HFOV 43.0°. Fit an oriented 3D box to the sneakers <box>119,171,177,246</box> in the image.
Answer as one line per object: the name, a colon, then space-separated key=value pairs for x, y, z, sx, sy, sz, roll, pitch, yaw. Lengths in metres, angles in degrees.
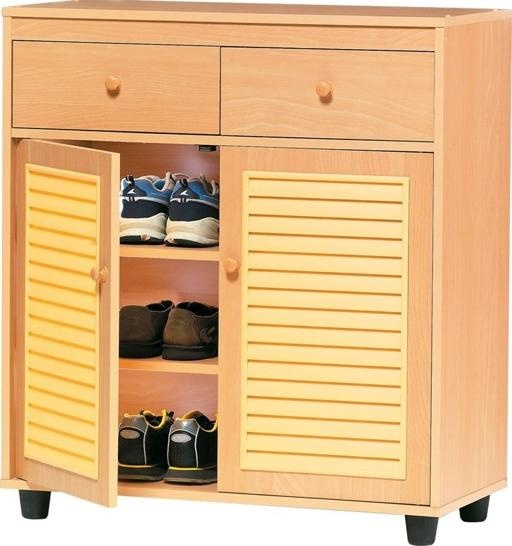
sneakers: x=-0.284 y=-0.195 z=1.854 sx=0.147 sy=0.175 sz=0.416 roll=2 pitch=8 yaw=11

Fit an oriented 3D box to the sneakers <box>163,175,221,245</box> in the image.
sneakers: x=-0.135 y=-0.171 z=1.788 sx=0.151 sy=0.168 sz=0.386 roll=3 pitch=8 yaw=12

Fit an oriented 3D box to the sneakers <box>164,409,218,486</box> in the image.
sneakers: x=-0.148 y=0.452 z=1.768 sx=0.153 sy=0.160 sz=0.373 roll=-1 pitch=-5 yaw=13
